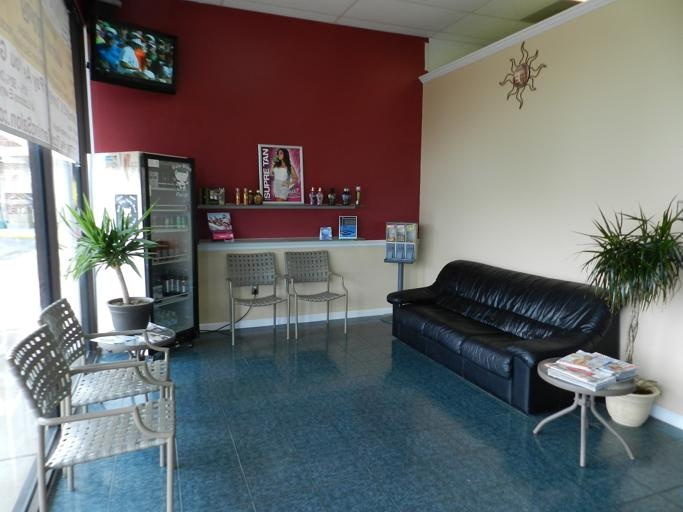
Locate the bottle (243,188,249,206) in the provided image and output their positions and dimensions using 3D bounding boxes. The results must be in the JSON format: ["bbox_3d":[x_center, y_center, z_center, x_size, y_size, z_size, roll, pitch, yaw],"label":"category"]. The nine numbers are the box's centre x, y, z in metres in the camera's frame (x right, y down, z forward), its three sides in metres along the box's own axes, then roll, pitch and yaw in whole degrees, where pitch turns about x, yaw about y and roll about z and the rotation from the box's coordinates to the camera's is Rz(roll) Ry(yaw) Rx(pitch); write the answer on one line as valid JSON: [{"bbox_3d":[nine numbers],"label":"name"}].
[{"bbox_3d":[-1.175,-0.732,5.898,0.069,0.205,0.149,-2,7,-12],"label":"bottle"}]

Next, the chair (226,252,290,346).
[{"bbox_3d":[-1.008,0.464,5.622,0.780,1.023,0.778,-1,0,-36],"label":"chair"}]

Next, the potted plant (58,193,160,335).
[{"bbox_3d":[-1.981,0.098,4.155,0.780,1.067,0.774,-9,8,-20],"label":"potted plant"}]

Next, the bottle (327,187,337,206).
[{"bbox_3d":[-0.120,-0.785,6.327,0.129,0.237,0.157,-1,7,-6],"label":"bottle"}]

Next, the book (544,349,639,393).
[{"bbox_3d":[1.829,0.852,3.577,0.527,0.138,0.454,-4,8,-31],"label":"book"}]

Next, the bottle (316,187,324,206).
[{"bbox_3d":[-0.284,-0.777,6.260,0.098,0.235,0.206,-1,7,-3],"label":"bottle"}]

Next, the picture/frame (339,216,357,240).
[{"bbox_3d":[0.077,-0.382,6.458,0.314,0.389,0.052,1,0,-18],"label":"picture/frame"}]

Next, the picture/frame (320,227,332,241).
[{"bbox_3d":[-0.193,-0.301,6.390,0.214,0.189,0.172,-3,7,-19],"label":"picture/frame"}]

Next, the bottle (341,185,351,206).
[{"bbox_3d":[0.069,-0.802,6.391,0.125,0.258,0.174,0,7,1],"label":"bottle"}]

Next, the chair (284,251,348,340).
[{"bbox_3d":[-0.353,0.450,5.992,0.670,0.963,0.661,-2,7,-23],"label":"chair"}]

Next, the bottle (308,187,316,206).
[{"bbox_3d":[-0.378,-0.780,6.215,0.080,0.251,0.160,-1,7,-4],"label":"bottle"}]

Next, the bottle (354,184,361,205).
[{"bbox_3d":[0.218,-0.811,6.466,0.066,0.278,0.127,1,7,12],"label":"bottle"}]

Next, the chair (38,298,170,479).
[{"bbox_3d":[-1.600,0.910,3.420,0.819,1.071,0.706,3,10,-13],"label":"chair"}]

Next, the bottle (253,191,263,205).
[{"bbox_3d":[-1.027,-0.726,5.945,0.116,0.183,0.158,-2,7,-10],"label":"bottle"}]

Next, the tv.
[{"bbox_3d":[-2.208,-2.093,5.020,0.922,0.653,0.117,-1,12,-40],"label":"tv"}]

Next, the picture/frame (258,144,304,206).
[{"bbox_3d":[-0.794,-1.039,6.058,0.781,0.953,0.063,-2,2,-26],"label":"picture/frame"}]

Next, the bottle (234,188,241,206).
[{"bbox_3d":[-1.265,-0.732,5.861,0.069,0.212,0.162,-2,7,-13],"label":"bottle"}]
